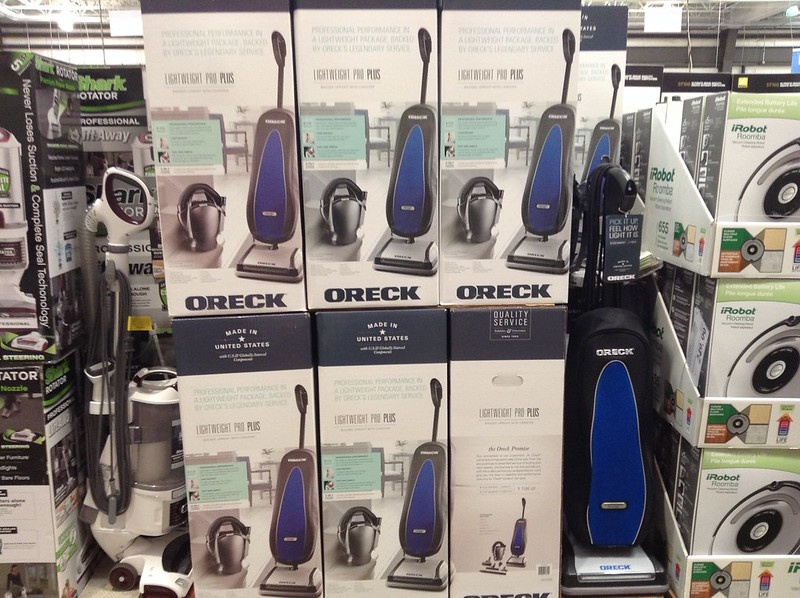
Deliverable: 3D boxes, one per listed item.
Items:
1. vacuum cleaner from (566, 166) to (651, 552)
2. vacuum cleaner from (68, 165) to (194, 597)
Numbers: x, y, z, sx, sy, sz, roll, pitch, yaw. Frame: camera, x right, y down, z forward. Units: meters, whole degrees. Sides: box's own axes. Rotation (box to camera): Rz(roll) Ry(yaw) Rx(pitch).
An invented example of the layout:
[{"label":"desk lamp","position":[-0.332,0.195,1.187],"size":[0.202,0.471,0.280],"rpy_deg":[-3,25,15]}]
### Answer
[{"label":"vacuum cleaner","position":[0.832,0.240,2.598],"size":[0.321,1.518,0.383],"rpy_deg":[2,10,22]},{"label":"vacuum cleaner","position":[-1.081,0.336,2.652],"size":[0.640,1.698,0.391],"rpy_deg":[6,12,42]}]
